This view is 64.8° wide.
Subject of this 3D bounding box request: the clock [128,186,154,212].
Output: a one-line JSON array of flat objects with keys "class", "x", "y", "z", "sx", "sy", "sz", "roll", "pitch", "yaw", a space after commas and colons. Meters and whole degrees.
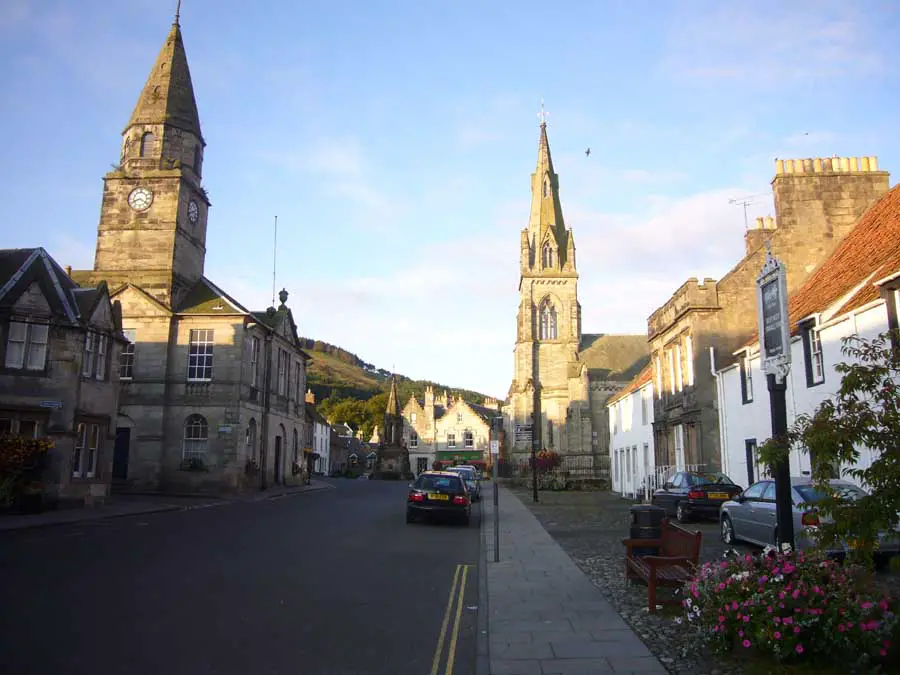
[{"class": "clock", "x": -15.719, "y": -6.998, "z": 36.137, "sx": 1.174, "sy": 1.311, "sz": 0.085, "roll": 0, "pitch": -12, "yaw": -5}]
